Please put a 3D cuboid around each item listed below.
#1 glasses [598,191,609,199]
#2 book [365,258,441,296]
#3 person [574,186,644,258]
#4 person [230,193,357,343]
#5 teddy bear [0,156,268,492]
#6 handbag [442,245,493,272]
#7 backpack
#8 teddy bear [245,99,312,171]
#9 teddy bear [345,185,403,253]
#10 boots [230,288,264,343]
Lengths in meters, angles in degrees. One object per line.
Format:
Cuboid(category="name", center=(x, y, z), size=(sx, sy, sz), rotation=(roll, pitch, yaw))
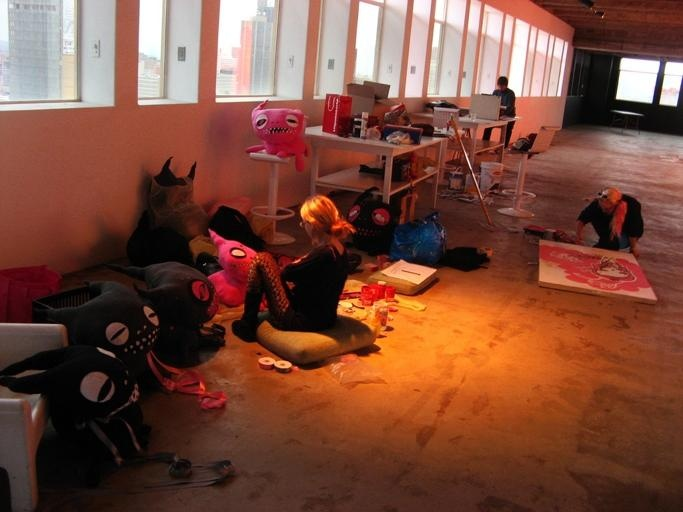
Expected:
Cuboid(category="glasses", center=(3.011, -0.708, 5.740), size=(0.089, 0.100, 0.165), rotation=(9, 18, 23))
Cuboid(category="book", center=(0.612, 0.206, 4.832), size=(0.444, 0.154, 0.656), rotation=(12, 19, 31))
Cuboid(category="person", center=(3.233, -0.398, 5.968), size=(0.808, 0.849, 0.715), rotation=(-10, 25, 9))
Cuboid(category="person", center=(-0.322, -0.016, 3.852), size=(1.063, 1.159, 0.779), rotation=(15, 20, 31))
Cuboid(category="teddy bear", center=(-1.170, 0.535, 2.827), size=(0.976, 0.652, 1.389), rotation=(-1, 16, -11))
Cuboid(category="handbag", center=(1.367, 0.024, 5.495), size=(0.471, 0.145, 0.541), rotation=(10, 18, 26))
Cuboid(category="backpack", center=(0.634, -0.271, 5.453), size=(0.890, 0.448, 0.751), rotation=(29, 19, 34))
Cuboid(category="teddy bear", center=(-0.602, -1.278, 5.591), size=(0.697, 0.802, 0.781), rotation=(0, -2, 15))
Cuboid(category="teddy bear", center=(0.414, -0.416, 5.723), size=(0.624, 0.688, 0.736), rotation=(7, 14, 18))
Cuboid(category="boots", center=(-0.669, 0.406, 3.600), size=(0.255, 0.316, 0.155), rotation=(4, 26, -5))
